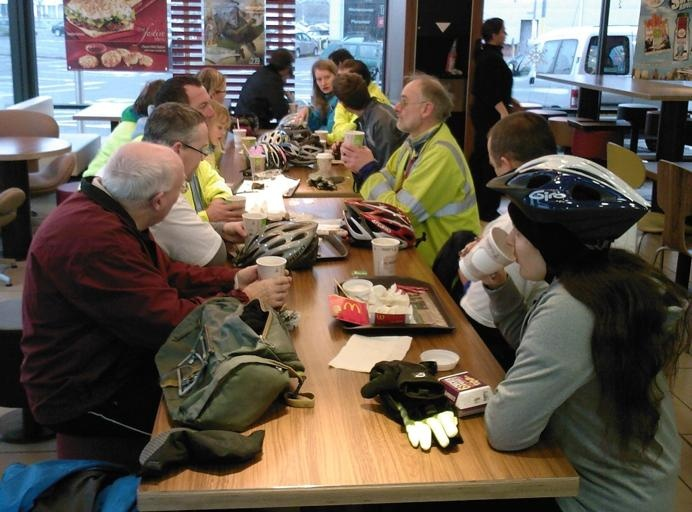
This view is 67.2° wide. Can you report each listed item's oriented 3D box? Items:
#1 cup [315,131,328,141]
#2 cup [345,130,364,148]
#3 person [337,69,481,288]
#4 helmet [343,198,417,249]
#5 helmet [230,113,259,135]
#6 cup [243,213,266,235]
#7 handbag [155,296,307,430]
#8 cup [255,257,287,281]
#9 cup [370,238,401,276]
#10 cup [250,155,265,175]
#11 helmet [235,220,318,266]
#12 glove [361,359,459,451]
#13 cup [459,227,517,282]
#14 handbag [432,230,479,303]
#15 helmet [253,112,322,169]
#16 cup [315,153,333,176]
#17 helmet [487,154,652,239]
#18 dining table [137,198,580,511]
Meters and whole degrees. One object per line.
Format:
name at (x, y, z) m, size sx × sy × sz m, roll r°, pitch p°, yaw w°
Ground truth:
cup at (-0.245, -1.204, 5.215) m, size 0.109 × 0.092 × 0.123 m, roll 0°, pitch 14°, yaw 1°
cup at (0.065, -0.868, 3.873) m, size 0.127 × 0.100 × 0.135 m, roll 2°, pitch 12°, yaw 0°
person at (0.425, -0.310, 3.626) m, size 0.964 × 1.705 × 0.741 m, roll -8°, pitch 23°, yaw -8°
helmet at (0.172, -0.162, 2.722) m, size 0.326 × 0.186 × 0.227 m, roll 16°, pitch 26°, yaw 2°
helmet at (-1.135, -1.496, 5.888) m, size 0.317 × 0.152 × 0.392 m, roll 1°, pitch 18°, yaw -9°
cup at (-0.441, -0.158, 2.512) m, size 0.108 × 0.088 × 0.115 m, roll 2°, pitch 17°, yaw -1°
handbag at (-0.359, 0.288, 1.565) m, size 0.320 × 0.183 × 0.395 m, roll -11°, pitch 23°, yaw -17°
cup at (-0.297, 0.049, 2.076) m, size 0.099 × 0.072 × 0.091 m, roll 0°, pitch 9°, yaw 0°
cup at (0.175, 0.002, 2.387) m, size 0.151 × 0.160 × 0.153 m, roll 1°, pitch 12°, yaw 0°
cup at (-0.673, -0.696, 3.966) m, size 0.139 × 0.141 × 0.144 m, roll 0°, pitch 0°, yaw 0°
helmet at (-0.289, -0.065, 2.343) m, size 0.282 × 0.093 × 0.210 m, roll -21°, pitch 40°, yaw -32°
glove at (0.194, 0.419, 1.469) m, size 0.163 × 0.102 × 0.260 m, roll -6°, pitch 24°, yaw -15°
cup at (0.438, 0.005, 1.699) m, size 0.187 × 0.172 × 0.163 m, roll -24°, pitch -9°, yaw 12°
handbag at (0.520, 0.032, 2.669) m, size 0.267 × 0.307 × 0.344 m, roll 9°, pitch 19°, yaw 7°
helmet at (-0.472, -0.991, 4.491) m, size 0.407 × 0.269 × 0.589 m, roll 0°, pitch 24°, yaw -8°
cup at (-0.162, -0.709, 4.049) m, size 0.168 × 0.173 × 0.181 m, roll 0°, pitch 13°, yaw 0°
helmet at (0.556, -0.152, 1.316) m, size 0.304 × 0.127 × 0.216 m, roll 14°, pitch 17°, yaw 19°
dining table at (0.010, 0.314, 1.632) m, size 0.891 × 0.309 × 1.360 m, roll 1°, pitch 26°, yaw -3°
